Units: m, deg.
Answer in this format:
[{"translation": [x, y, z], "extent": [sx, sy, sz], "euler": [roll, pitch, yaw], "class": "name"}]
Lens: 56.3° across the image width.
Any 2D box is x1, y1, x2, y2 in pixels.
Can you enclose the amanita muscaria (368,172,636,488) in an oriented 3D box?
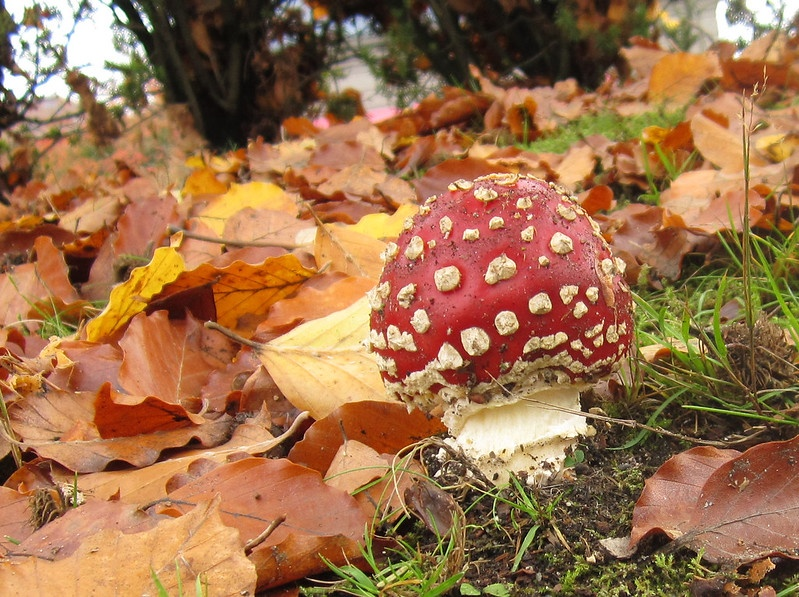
[{"translation": [0.325, 0.068, 2.320], "extent": [0.785, 0.851, 0.485], "euler": [-31, 22, -20], "class": "amanita muscaria"}]
